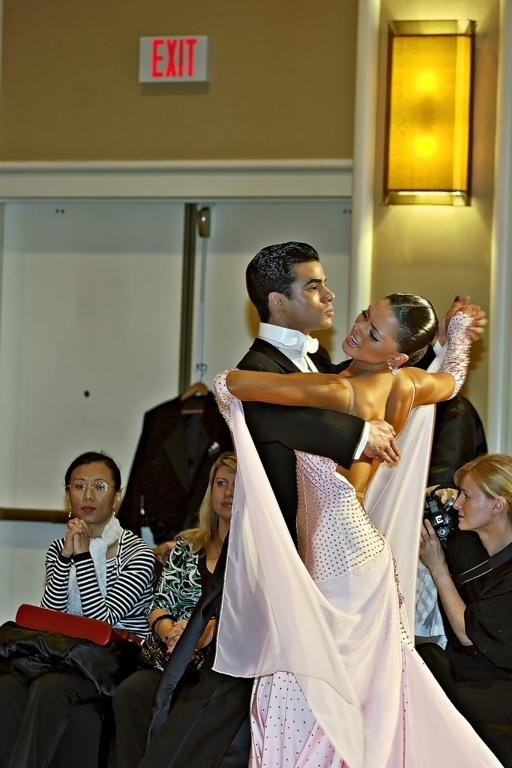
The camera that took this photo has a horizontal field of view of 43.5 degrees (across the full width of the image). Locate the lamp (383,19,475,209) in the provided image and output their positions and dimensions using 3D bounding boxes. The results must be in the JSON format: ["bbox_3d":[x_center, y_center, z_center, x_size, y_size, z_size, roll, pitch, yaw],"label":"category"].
[{"bbox_3d":[0.635,-0.982,2.349,0.333,0.645,0.143,-1,-2,10],"label":"lamp"}]
